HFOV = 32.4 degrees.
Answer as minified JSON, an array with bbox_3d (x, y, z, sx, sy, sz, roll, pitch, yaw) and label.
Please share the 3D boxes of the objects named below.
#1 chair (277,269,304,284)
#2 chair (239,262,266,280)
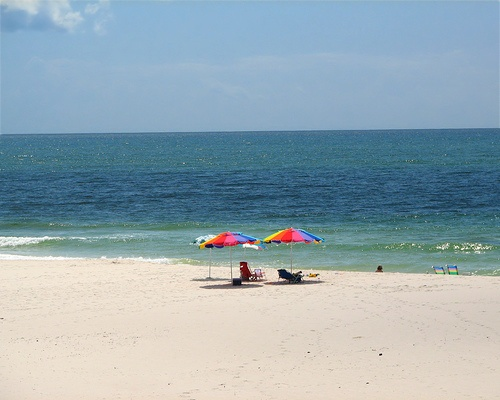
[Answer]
[{"bbox_3d":[1.746,3.178,36.425,0.946,0.339,0.530,5,-4,-34],"label":"chair"},{"bbox_3d":[0.165,3.090,37.402,1.121,0.655,0.618,-2,15,-43],"label":"chair"}]
